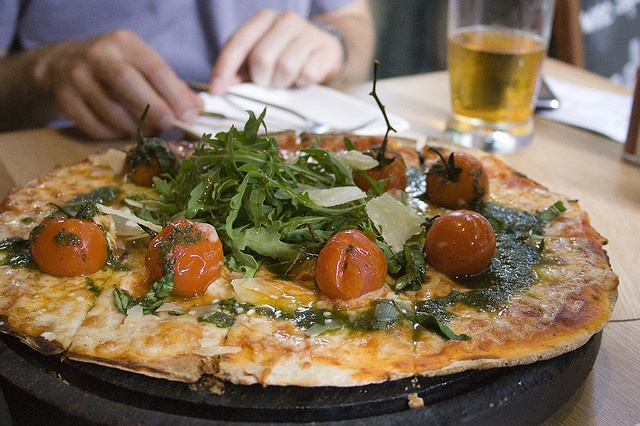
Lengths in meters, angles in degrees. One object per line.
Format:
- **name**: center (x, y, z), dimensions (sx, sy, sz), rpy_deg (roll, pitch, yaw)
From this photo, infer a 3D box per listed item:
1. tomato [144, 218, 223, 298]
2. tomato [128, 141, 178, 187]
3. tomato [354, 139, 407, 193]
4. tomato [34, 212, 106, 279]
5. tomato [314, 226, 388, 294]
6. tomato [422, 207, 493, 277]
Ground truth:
- **tomato**: center (-0.461, 0.142, 1.875), dimensions (0.271, 0.162, 0.277), rpy_deg (5, 46, -8)
- **tomato**: center (-0.736, -0.212, 2.388), dimensions (0.204, 0.197, 0.199), rpy_deg (0, 42, -24)
- **tomato**: center (0.235, -0.173, 2.225), dimensions (0.202, 0.200, 0.195), rpy_deg (2, 45, 2)
- **tomato**: center (-0.840, 0.112, 1.862), dimensions (0.210, 0.149, 0.210), rpy_deg (2, 18, -19)
- **tomato**: center (0.062, 0.201, 1.910), dimensions (0.321, 0.183, 0.330), rpy_deg (1, 12, 4)
- **tomato**: center (0.515, 0.114, 2.003), dimensions (0.263, 0.254, 0.252), rpy_deg (-1, 15, 31)
